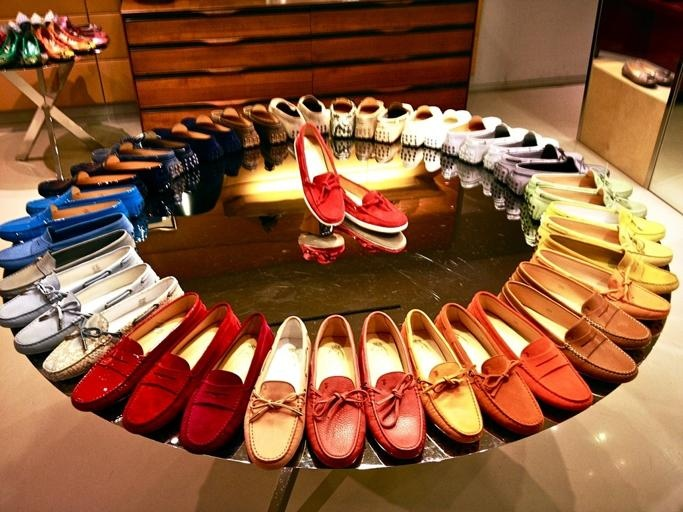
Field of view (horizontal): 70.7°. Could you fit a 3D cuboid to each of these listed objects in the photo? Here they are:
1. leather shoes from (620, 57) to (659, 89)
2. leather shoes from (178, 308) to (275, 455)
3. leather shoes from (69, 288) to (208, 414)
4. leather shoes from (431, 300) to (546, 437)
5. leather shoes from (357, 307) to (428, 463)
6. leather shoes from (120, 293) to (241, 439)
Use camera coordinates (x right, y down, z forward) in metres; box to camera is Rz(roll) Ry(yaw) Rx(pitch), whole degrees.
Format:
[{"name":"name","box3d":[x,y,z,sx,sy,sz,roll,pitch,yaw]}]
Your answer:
[{"name":"leather shoes","box3d":[2.200,-1.344,3.573,0.086,0.111,0.263,-33,29,13]},{"name":"leather shoes","box3d":[-0.335,0.378,1.511,0.157,0.122,0.450,15,43,8]},{"name":"leather shoes","box3d":[-0.619,0.314,1.630,0.182,0.151,0.535,28,50,18]},{"name":"leather shoes","box3d":[0.439,0.363,1.581,0.164,0.141,0.492,-17,48,-14]},{"name":"leather shoes","box3d":[0.143,0.372,1.480,0.142,0.119,0.431,-6,45,-2]},{"name":"leather shoes","box3d":[-0.485,0.345,1.567,0.171,0.119,0.491,28,47,8]}]
